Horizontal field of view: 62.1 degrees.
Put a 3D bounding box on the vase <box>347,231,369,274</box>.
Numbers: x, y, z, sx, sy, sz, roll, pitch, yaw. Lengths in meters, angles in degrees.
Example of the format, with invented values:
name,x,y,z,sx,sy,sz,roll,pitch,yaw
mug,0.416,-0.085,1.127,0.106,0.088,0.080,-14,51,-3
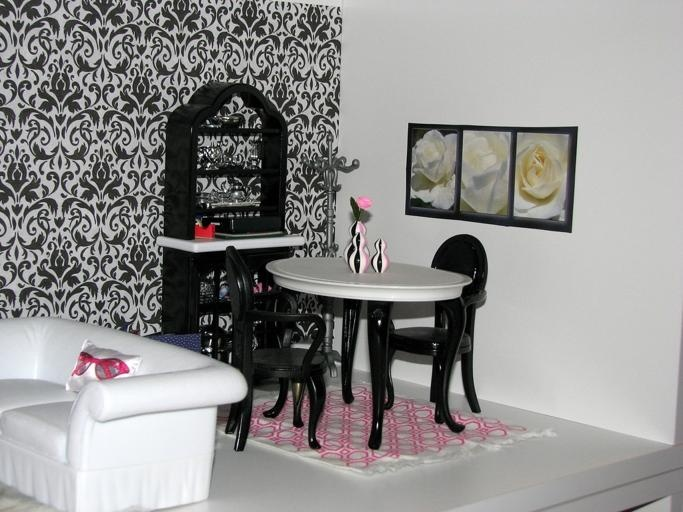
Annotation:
name,x,y,z,sx,sy,sz,roll,pitch,yaw
vase,0.124,-0.027,4.165,0.168,0.321,0.178,-3,12,-18

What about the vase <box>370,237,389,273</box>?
name,x,y,z,sx,sy,sz,roll,pitch,yaw
vase,0.288,-0.007,4.239,0.133,0.268,0.141,4,12,14

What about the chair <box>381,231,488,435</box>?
name,x,y,z,sx,sy,sz,roll,pitch,yaw
chair,0.729,0.535,4.502,0.799,1.490,0.692,5,3,44

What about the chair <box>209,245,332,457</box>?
name,x,y,z,sx,sy,sz,roll,pitch,yaw
chair,-0.457,0.624,3.975,0.670,1.327,0.795,2,4,-2

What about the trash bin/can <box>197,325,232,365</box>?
name,x,y,z,sx,sy,sz,roll,pitch,yaw
trash bin/can,-1.068,0.739,4.869,0.275,0.445,0.390,1,8,-3
